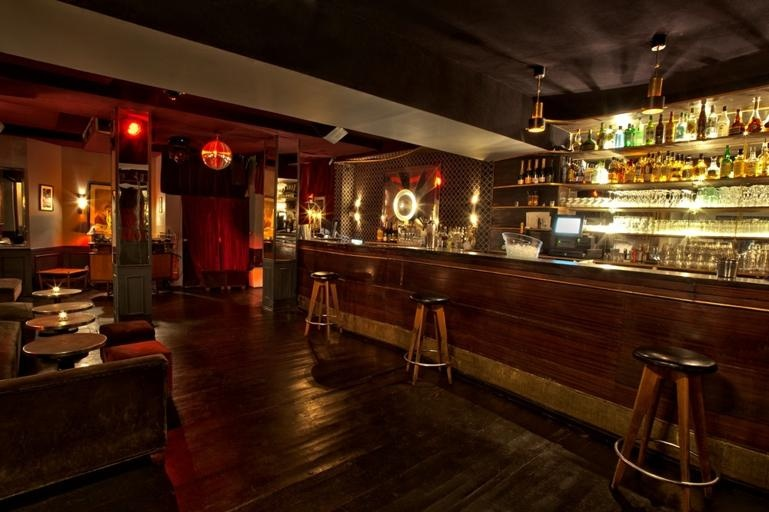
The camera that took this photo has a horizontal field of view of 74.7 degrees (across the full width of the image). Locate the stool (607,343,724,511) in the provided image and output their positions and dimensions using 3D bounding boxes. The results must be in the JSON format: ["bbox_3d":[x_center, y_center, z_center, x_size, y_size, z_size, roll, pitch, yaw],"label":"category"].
[{"bbox_3d":[2.678,1.537,4.718,0.877,1.393,0.891,7,11,34],"label":"stool"}]

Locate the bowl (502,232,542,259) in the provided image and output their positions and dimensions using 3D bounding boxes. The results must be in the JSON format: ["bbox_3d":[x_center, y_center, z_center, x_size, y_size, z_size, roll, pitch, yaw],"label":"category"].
[{"bbox_3d":[1.744,-0.114,6.235,0.441,0.276,0.401,3,-1,0],"label":"bowl"}]

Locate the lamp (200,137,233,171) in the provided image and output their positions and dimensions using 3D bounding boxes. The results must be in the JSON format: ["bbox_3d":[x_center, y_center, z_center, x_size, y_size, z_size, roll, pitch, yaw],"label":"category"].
[{"bbox_3d":[-3.037,-1.928,9.118,0.578,0.718,0.549,-1,5,-16],"label":"lamp"}]

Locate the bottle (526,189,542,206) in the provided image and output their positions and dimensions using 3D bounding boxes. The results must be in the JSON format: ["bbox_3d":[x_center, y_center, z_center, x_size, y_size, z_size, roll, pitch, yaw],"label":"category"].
[{"bbox_3d":[2.406,-0.933,8.030,0.182,0.290,0.260,6,-5,-22],"label":"bottle"}]

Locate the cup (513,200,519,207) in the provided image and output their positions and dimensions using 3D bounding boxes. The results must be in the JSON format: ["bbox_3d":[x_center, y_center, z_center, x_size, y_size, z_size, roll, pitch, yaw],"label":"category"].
[{"bbox_3d":[2.174,-0.857,8.247,0.078,0.133,0.081,3,4,0],"label":"cup"}]

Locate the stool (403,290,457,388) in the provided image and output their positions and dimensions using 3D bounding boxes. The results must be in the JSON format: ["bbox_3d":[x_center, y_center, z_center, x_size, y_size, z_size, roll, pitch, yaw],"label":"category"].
[{"bbox_3d":[0.589,0.966,6.397,0.615,1.067,0.971,-1,9,-10],"label":"stool"}]

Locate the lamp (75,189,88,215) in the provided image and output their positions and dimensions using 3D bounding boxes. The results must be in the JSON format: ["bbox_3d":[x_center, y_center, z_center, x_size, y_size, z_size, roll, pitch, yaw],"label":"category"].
[{"bbox_3d":[-7.036,-1.250,11.659,0.065,0.517,0.259,9,12,39],"label":"lamp"}]

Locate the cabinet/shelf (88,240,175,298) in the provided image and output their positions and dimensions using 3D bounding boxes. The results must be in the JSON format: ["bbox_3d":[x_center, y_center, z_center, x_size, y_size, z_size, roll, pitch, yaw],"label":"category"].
[{"bbox_3d":[-4.606,0.195,9.099,1.269,0.898,0.419,0,0,-29],"label":"cabinet/shelf"}]

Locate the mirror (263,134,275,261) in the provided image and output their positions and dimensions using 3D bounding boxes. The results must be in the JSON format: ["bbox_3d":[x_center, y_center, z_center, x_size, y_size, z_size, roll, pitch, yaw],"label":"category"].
[{"bbox_3d":[-2.109,-1.077,9.313,0.314,2.237,0.905,-1,10,-12],"label":"mirror"}]

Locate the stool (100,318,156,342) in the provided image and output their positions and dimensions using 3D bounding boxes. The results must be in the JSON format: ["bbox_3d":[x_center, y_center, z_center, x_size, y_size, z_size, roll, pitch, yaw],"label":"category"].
[{"bbox_3d":[-3.227,0.916,6.259,0.405,0.159,0.368,-1,5,-36],"label":"stool"}]

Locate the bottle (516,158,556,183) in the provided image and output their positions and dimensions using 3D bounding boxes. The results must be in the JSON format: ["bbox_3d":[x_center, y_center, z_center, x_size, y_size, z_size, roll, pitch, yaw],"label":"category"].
[{"bbox_3d":[2.444,-1.359,8.066,0.249,0.441,0.614,-7,12,-38],"label":"bottle"}]

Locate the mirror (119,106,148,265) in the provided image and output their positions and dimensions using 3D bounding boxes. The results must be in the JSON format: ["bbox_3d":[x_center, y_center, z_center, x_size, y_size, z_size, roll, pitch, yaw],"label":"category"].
[{"bbox_3d":[-3.894,-1.044,7.832,0.534,2.328,0.286,-4,11,-24],"label":"mirror"}]
